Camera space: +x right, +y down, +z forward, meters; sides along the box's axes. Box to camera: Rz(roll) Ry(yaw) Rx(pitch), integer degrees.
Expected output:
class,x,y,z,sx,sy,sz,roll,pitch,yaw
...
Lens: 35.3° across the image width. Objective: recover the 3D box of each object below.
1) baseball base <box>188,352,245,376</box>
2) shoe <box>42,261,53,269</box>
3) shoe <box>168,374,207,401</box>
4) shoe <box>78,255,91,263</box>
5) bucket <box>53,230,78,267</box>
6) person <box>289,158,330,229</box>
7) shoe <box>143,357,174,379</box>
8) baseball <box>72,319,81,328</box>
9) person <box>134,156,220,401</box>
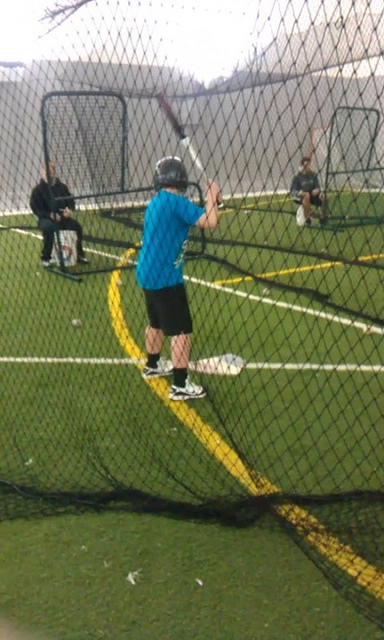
class,x,y,z,sx,sy,sz,roll,pitch,yaw
baseball base,0.178,0.298,4.226,0.395,0.157,0.693,1,2,-1
shoe,-1.855,-0.710,7.740,0.119,0.105,0.549,0,2,-14
shoe,-0.030,0.431,3.914,0.280,0.202,0.107,-3,6,-15
shoe,-1.483,-0.815,8.163,0.092,0.049,0.131,9,35,-43
bucket,-1.489,-0.964,8.039,0.373,0.798,0.409,2,14,-1
person,2.018,-2.194,10.330,0.649,1.323,1.507,1,1,10
shoe,-0.218,0.338,4.231,0.092,0.120,0.253,9,15,44
baseball,-0.996,0.032,5.166,0.064,0.077,0.084,11,10,32
person,-0.109,-0.288,3.858,0.498,1.578,1.066,0,1,-6
